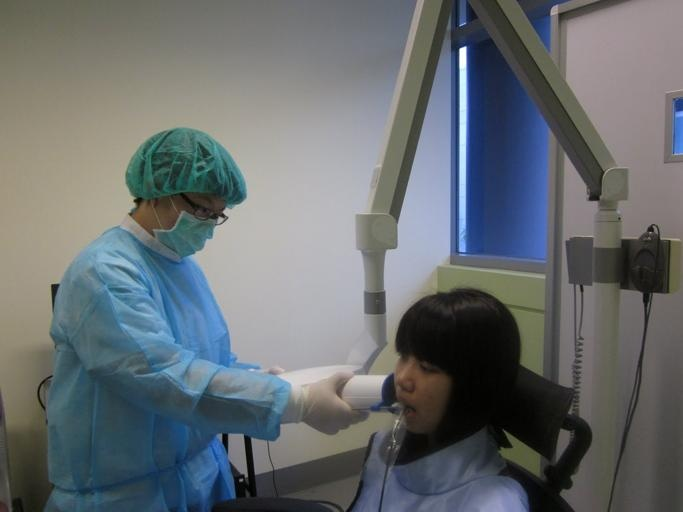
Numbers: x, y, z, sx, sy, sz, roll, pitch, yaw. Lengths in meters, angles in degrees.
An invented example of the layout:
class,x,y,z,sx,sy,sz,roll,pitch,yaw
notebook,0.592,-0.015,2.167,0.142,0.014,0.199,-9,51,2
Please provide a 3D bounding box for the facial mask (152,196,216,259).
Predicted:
class,x,y,z,sx,sy,sz,roll,pitch,yaw
facial mask,-0.547,-0.078,2.025,0.155,0.134,0.159,42,3,6
